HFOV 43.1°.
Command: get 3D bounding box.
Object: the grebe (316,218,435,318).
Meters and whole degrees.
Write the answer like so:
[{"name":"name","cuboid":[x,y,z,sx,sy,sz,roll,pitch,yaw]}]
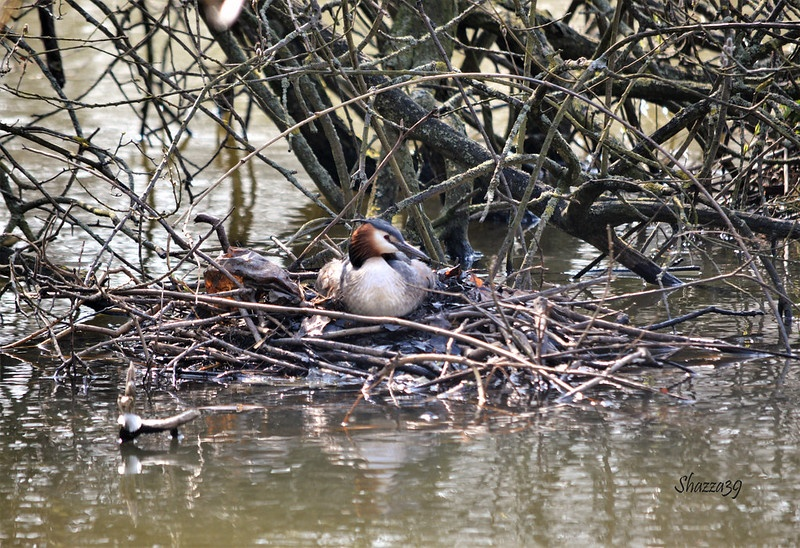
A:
[{"name":"grebe","cuboid":[-0.169,-0.043,7.003,0.843,0.665,0.446,-3,4,0]}]
